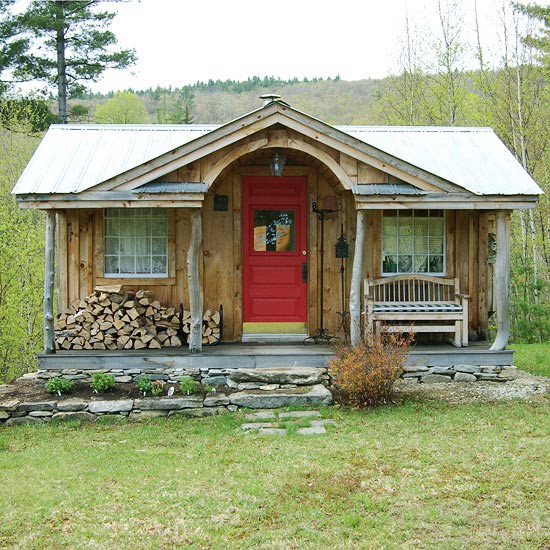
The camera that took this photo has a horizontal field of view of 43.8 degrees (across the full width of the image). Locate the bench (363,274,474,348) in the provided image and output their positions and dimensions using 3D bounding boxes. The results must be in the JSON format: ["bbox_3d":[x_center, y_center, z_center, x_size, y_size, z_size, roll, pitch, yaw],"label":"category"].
[{"bbox_3d":[2.229,0.598,10.669,1.669,1.120,1.412,0,10,1],"label":"bench"}]
